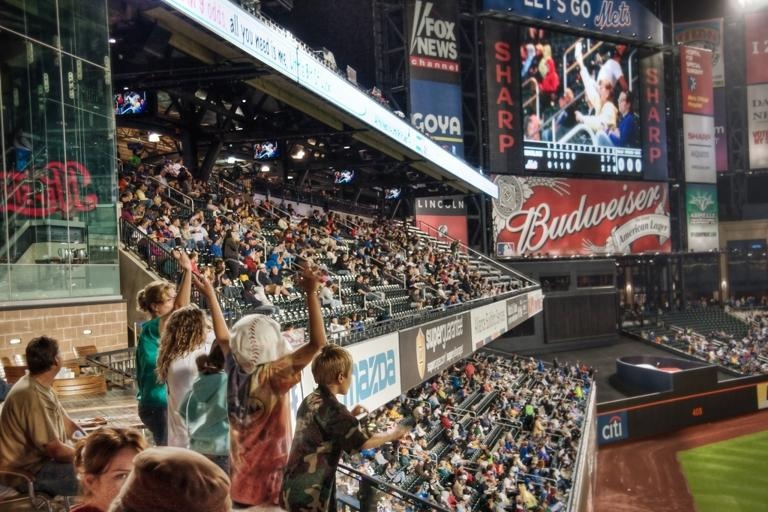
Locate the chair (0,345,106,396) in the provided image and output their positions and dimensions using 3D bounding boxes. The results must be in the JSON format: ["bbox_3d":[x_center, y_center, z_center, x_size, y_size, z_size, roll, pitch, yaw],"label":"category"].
[{"bbox_3d":[-6.738,2.421,12.779,1.788,1.061,1.668,-2,0,-33],"label":"chair"}]
